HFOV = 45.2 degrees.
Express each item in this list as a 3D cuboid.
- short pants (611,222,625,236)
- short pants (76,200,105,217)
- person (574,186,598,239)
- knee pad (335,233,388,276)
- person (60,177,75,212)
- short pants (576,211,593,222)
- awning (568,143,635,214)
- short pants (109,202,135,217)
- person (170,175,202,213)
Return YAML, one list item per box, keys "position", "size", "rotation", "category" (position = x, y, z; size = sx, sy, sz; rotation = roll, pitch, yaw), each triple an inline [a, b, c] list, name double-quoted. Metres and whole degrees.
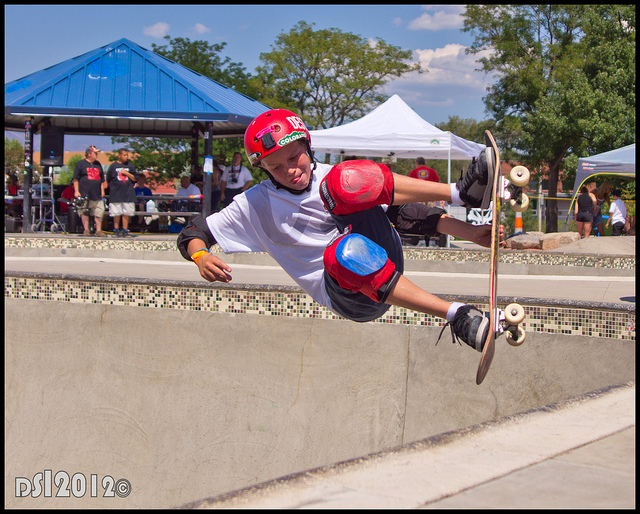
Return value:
- position: [6.010, -0.568, 15.618]
  size: [0.155, 0.286, 0.229]
  rotation: [1, 12, -23]
  category: "short pants"
- position: [-4.282, -0.912, 14.476]
  size: [0.388, 0.321, 0.283]
  rotation: [0, 8, 7]
  category: "short pants"
- position: [5.268, -0.902, 15.322]
  size: [0.398, 1.008, 0.679]
  rotation: [2, 5, 20]
  category: "person"
- position: [0.285, -0.010, 5.414]
  size: [0.367, 0.280, 0.096]
  rotation: [0, 5, 6]
  category: "knee pad"
- position: [-5.673, -1.306, 17.221]
  size: [0.278, 0.600, 0.950]
  rotation: [-2, 6, -19]
  category: "person"
- position: [5.216, -0.801, 15.280]
  size: [0.263, 0.207, 0.194]
  rotation: [5, 11, 25]
  category: "short pants"
- position: [6.994, -2.192, 18.820]
  size: [0.786, 1.013, 1.722]
  rotation: [-5, 7, -41]
  category: "awning"
- position: [-3.747, -0.922, 14.544]
  size: [0.420, 0.434, 0.245]
  rotation: [0, 13, -9]
  category: "short pants"
- position: [-3.054, -1.398, 17.517]
  size: [0.678, 0.948, 0.563]
  rotation: [-5, 1, 12]
  category: "person"
